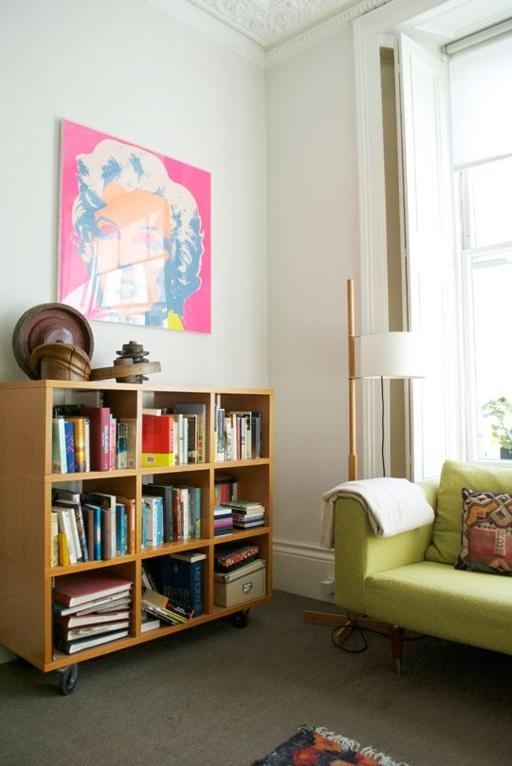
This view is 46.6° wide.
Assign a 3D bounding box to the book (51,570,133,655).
[{"bbox_3d":[-0.587,0.819,2.096,0.252,0.112,0.273,4,-7,-35],"label":"book"}]

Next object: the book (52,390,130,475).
[{"bbox_3d":[-0.619,0.150,2.223,0.226,0.316,0.309,1,1,-32],"label":"book"}]

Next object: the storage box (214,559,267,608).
[{"bbox_3d":[-0.103,0.932,2.781,0.206,0.139,0.280,-6,-6,38],"label":"storage box"}]

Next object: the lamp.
[{"bbox_3d":[0.447,0.180,2.731,0.447,1.332,0.472,-12,23,-20],"label":"lamp"}]
